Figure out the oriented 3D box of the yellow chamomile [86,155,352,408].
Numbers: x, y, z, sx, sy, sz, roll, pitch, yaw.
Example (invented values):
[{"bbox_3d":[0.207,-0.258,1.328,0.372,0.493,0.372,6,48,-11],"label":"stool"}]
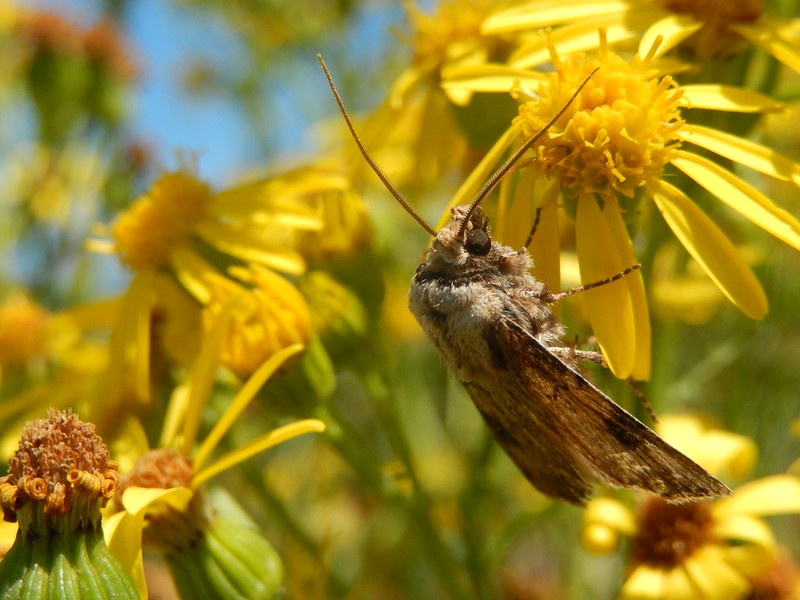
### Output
[{"bbox_3d":[-0.504,-0.121,2.422,0.604,0.598,0.188,-38,-51,16],"label":"yellow chamomile"}]
